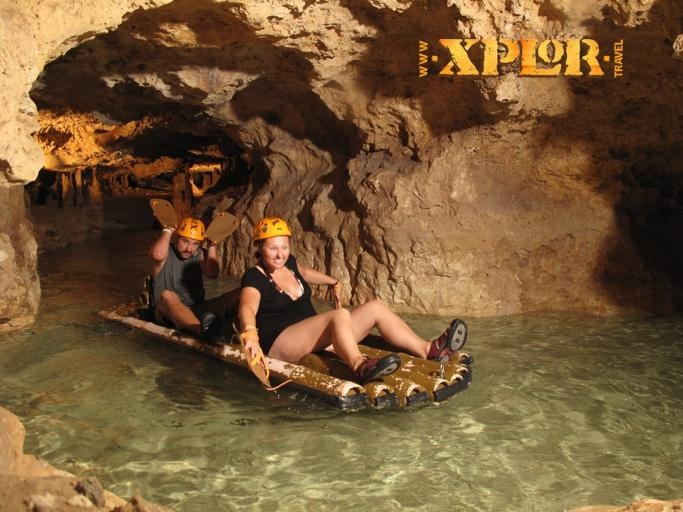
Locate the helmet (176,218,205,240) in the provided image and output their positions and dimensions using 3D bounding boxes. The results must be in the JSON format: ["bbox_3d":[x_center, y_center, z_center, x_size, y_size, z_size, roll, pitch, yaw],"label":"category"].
[{"bbox_3d":[-1.690,-0.335,7.094,0.320,0.274,0.269,-5,8,-11],"label":"helmet"}]

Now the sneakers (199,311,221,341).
[{"bbox_3d":[-1.299,0.665,6.271,0.149,0.293,0.154,0,-4,-29],"label":"sneakers"}]

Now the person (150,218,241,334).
[{"bbox_3d":[-1.542,0.147,7.010,1.191,1.177,1.548,-4,11,-29],"label":"person"}]

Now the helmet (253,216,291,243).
[{"bbox_3d":[-0.621,-0.274,5.608,0.308,0.207,0.166,-4,8,-9],"label":"helmet"}]

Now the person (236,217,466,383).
[{"bbox_3d":[-0.057,0.458,5.480,1.904,0.874,1.495,15,29,30],"label":"person"}]
